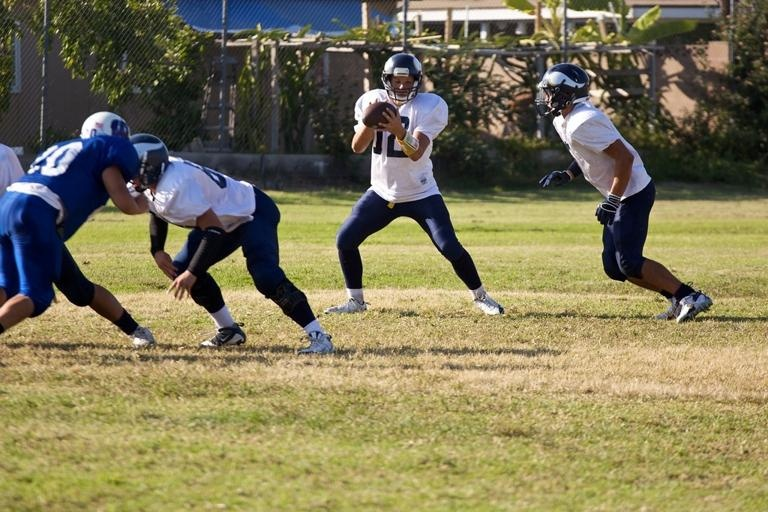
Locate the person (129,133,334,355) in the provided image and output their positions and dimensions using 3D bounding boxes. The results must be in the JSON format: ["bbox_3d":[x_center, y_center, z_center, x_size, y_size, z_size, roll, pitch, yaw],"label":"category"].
[{"bbox_3d":[-1.274,-0.102,8.831,1.413,1.722,0.728,-1,7,-12],"label":"person"}]

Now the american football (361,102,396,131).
[{"bbox_3d":[-0.064,-1.231,9.720,0.290,0.162,0.198,0,-24,-18],"label":"american football"}]

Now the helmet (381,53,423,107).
[{"bbox_3d":[0.165,-1.624,10.088,0.338,0.455,0.307,0,7,0],"label":"helmet"}]

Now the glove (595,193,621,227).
[{"bbox_3d":[1.983,-0.415,9.818,0.232,0.259,0.123,23,19,8],"label":"glove"}]

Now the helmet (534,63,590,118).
[{"bbox_3d":[1.633,-1.509,10.003,0.533,0.438,0.427,5,12,13],"label":"helmet"}]

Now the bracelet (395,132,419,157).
[{"bbox_3d":[0.164,-0.979,9.811,0.202,0.177,0.232,26,-13,-34],"label":"bracelet"}]

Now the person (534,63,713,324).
[{"bbox_3d":[2.090,-0.578,9.970,1.447,2.281,0.644,1,7,5],"label":"person"}]

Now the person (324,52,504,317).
[{"bbox_3d":[0.191,-0.667,10.098,1.411,2.358,0.782,1,6,3],"label":"person"}]
